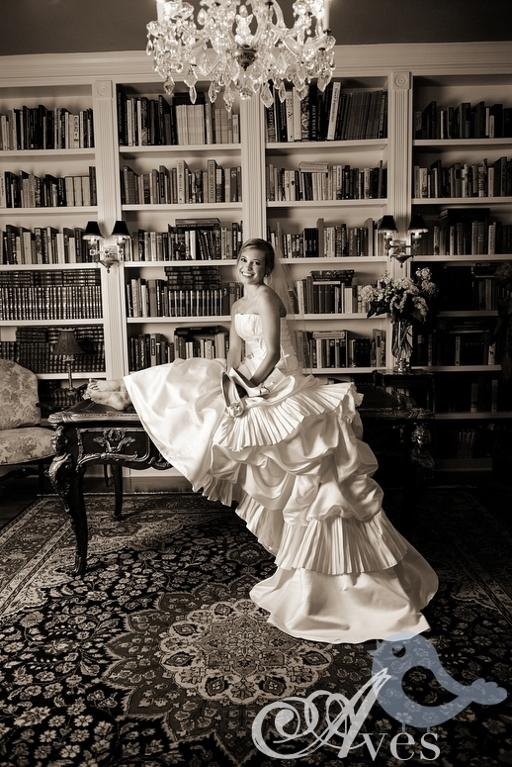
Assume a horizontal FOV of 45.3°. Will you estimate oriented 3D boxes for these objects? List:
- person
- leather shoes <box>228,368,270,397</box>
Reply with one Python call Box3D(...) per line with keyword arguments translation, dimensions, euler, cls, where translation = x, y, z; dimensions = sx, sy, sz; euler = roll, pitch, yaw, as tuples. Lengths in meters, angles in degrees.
Box3D(translation=(0.053, 0.206, 2.586), dimensions=(1.596, 1.489, 0.722), euler=(0, 4, -4), cls="person")
Box3D(translation=(-0.026, 0.013, 2.556), dimensions=(0.137, 0.053, 0.134), euler=(36, 13, 24), cls="leather shoes")
